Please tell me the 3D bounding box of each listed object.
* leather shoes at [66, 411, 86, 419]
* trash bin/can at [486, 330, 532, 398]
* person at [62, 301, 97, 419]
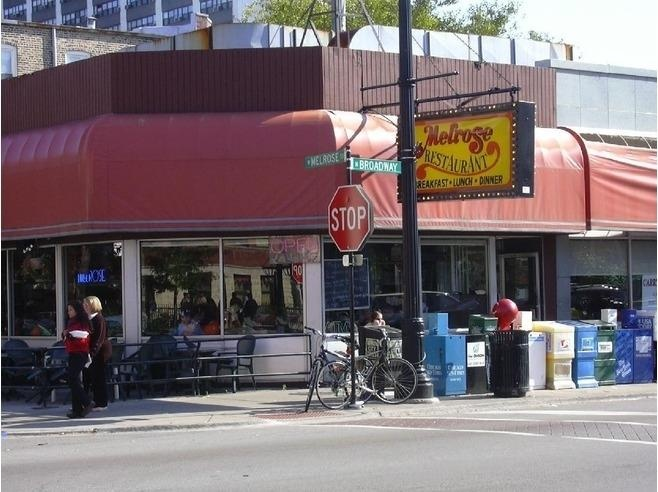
[{"bbox_3d":[-5.306,3.525,24.712,0.444,0.234,0.179,2,-3,10],"label":"leather shoes"},{"bbox_3d":[4.056,2.711,26.954,1.193,1.800,1.168,4,-6,-42],"label":"trash bin/can"},{"bbox_3d":[-5.279,2.364,24.689,0.569,2.376,0.629,-3,9,-14],"label":"person"}]
